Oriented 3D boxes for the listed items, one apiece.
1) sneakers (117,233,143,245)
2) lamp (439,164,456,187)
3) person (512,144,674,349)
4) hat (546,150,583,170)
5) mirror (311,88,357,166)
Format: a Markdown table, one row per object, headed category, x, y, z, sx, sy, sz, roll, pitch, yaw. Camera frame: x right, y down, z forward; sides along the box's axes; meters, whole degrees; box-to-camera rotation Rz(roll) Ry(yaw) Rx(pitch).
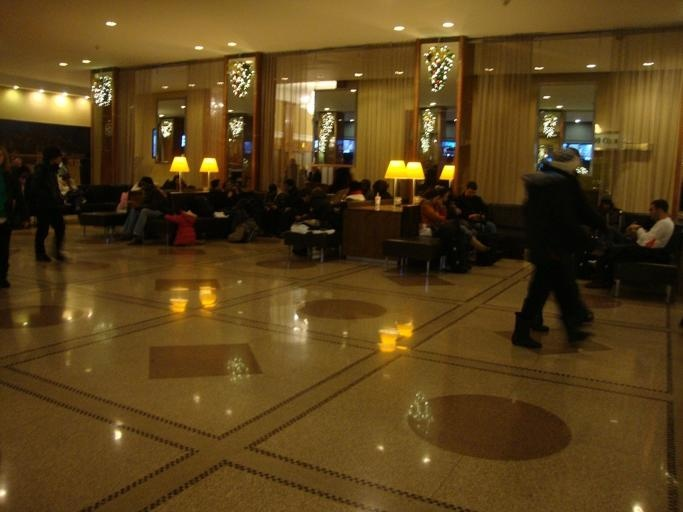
| category | x | y | z | sx | sy | sz | roll | pitch | yaw |
| --- | --- | --- | --- | --- | --- | --- | --- | --- | --- |
| sneakers | -3.957 | -0.314 | 10.073 | 0.214 | 0.282 | 0.644 | 0 | -3 | -44 |
| lamp | 2.160 | -1.663 | 10.922 | 0.368 | 0.367 | 0.369 | -2 | 8 | -10 |
| person | 1.797 | 0.003 | 4.513 | 0.628 | 1.765 | 0.696 | 5 | 11 | 18 |
| hat | 1.867 | -0.800 | 4.495 | 0.169 | 0.084 | 0.230 | 2 | 12 | -3 |
| mirror | -0.150 | -3.500 | 14.528 | 1.212 | 1.948 | 0.650 | 4 | 10 | 12 |
